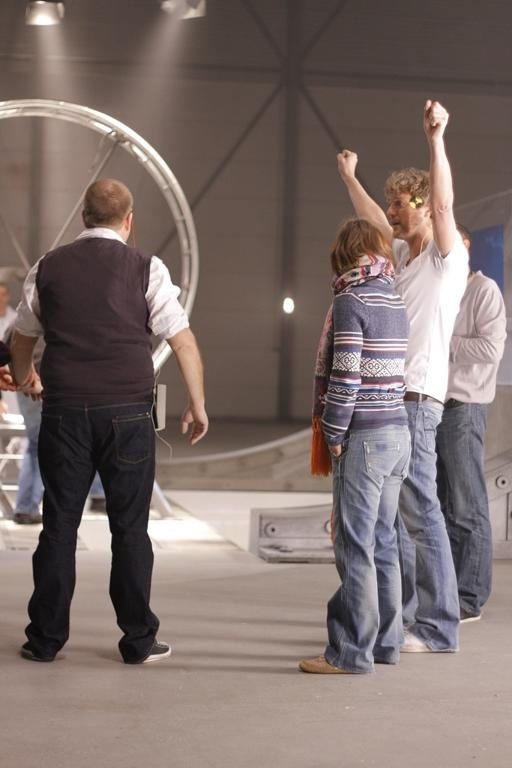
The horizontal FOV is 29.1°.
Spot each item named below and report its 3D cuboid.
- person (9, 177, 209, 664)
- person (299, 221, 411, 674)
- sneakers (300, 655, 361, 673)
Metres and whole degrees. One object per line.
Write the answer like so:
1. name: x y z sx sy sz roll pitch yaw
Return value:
1. person: -0.442 0.105 3.203 0.820 1.471 0.499 2 5 19
2. person: 0.331 0.186 3.040 0.338 1.236 0.384 4 -1 6
3. sneakers: 0.226 0.839 2.984 0.176 0.057 0.055 4 -8 6
